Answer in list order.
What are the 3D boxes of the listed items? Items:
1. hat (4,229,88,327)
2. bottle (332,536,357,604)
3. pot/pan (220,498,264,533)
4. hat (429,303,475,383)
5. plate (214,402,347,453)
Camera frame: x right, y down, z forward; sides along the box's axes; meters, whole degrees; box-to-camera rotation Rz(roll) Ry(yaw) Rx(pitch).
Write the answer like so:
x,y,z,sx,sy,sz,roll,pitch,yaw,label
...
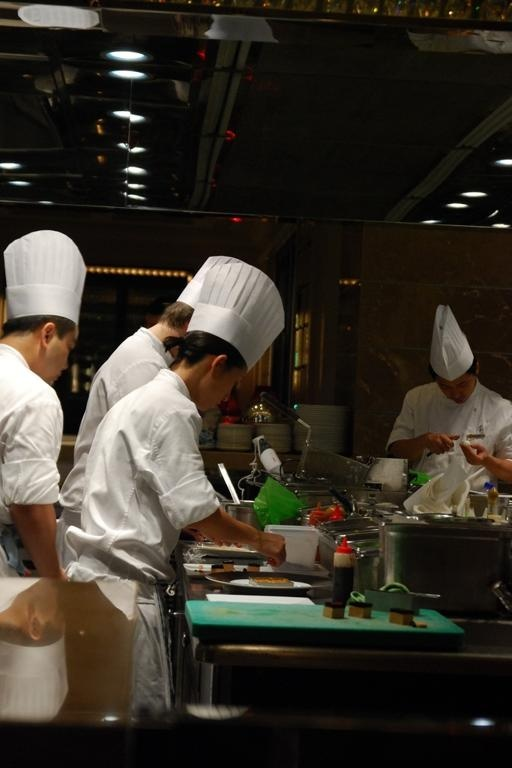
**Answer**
x,y,z,sx,sy,sz,roll,pitch,yaw,label
-0.617,-0.319,1.945,0.223,0.278,0.288,4,0,-10,hat
0.147,0.312,1.152,0.033,0.114,0.086,4,0,7,bottle
-0.040,0.396,2.130,0.117,0.103,0.106,0,2,-7,pot/pan
0.813,-0.180,2.915,0.180,0.317,0.270,4,0,-13,hat
0.210,0.232,3.831,0.579,0.301,0.308,0,0,2,plate
